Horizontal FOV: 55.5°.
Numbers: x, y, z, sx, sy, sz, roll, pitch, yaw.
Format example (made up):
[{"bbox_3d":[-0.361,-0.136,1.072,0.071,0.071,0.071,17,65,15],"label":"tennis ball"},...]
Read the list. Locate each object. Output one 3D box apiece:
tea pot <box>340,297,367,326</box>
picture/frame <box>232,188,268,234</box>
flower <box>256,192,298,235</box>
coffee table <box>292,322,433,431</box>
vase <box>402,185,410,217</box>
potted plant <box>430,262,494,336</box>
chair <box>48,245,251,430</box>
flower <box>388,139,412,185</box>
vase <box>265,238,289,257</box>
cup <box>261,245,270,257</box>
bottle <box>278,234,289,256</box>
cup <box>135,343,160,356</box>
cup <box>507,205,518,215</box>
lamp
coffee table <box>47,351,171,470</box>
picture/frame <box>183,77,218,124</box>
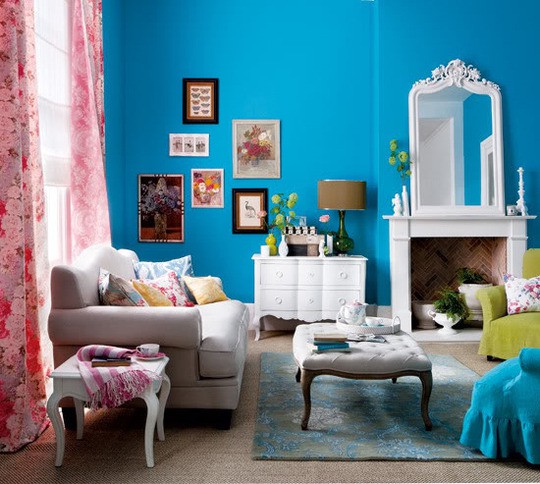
[{"bbox_3d":[0.525,0.466,3.404,0.195,0.148,0.188,0,6,0],"label":"tea pot"},{"bbox_3d":[-0.227,-0.350,5.360,0.464,0.605,0.062,0,0,-2],"label":"picture/frame"},{"bbox_3d":[0.094,-0.306,5.310,0.382,0.437,0.420,9,21,27],"label":"flower"},{"bbox_3d":[0.584,0.792,3.217,0.885,0.531,0.714,0,6,5],"label":"coffee table"},{"bbox_3d":[1.362,-0.419,5.111,0.089,0.297,0.115,-1,6,-8],"label":"vase"},{"bbox_3d":[1.949,0.581,5.331,0.618,0.907,0.604,3,-2,27],"label":"potted plant"},{"bbox_3d":[-0.701,0.240,3.254,0.916,0.747,1.611,1,2,-2],"label":"chair"},{"bbox_3d":[1.289,-0.810,5.115,0.225,0.426,0.139,1,6,14],"label":"flower"},{"bbox_3d":[0.072,0.037,5.149,0.182,0.183,0.187,1,9,10],"label":"vase"},{"bbox_3d":[-0.070,0.093,5.103,0.096,0.109,0.098,0,4,0],"label":"cup"},{"bbox_3d":[0.129,0.034,5.091,0.106,0.212,0.180,0,6,2],"label":"bottle"},{"bbox_3d":[-0.651,0.568,2.762,0.086,0.038,0.071,-1,2,-32],"label":"cup"},{"bbox_3d":[2.405,-0.313,5.105,0.100,0.102,0.094,-1,-2,0],"label":"cup"},{"bbox_3d":[0.721,-0.236,5.155,0.478,0.759,0.390,0,6,5],"label":"lamp"},{"bbox_3d":[-0.823,0.843,2.728,0.546,0.476,0.566,0,-4,1],"label":"coffee table"},{"bbox_3d":[-0.741,-1.487,5.327,0.465,0.577,0.042,0,2,-2],"label":"picture/frame"}]
